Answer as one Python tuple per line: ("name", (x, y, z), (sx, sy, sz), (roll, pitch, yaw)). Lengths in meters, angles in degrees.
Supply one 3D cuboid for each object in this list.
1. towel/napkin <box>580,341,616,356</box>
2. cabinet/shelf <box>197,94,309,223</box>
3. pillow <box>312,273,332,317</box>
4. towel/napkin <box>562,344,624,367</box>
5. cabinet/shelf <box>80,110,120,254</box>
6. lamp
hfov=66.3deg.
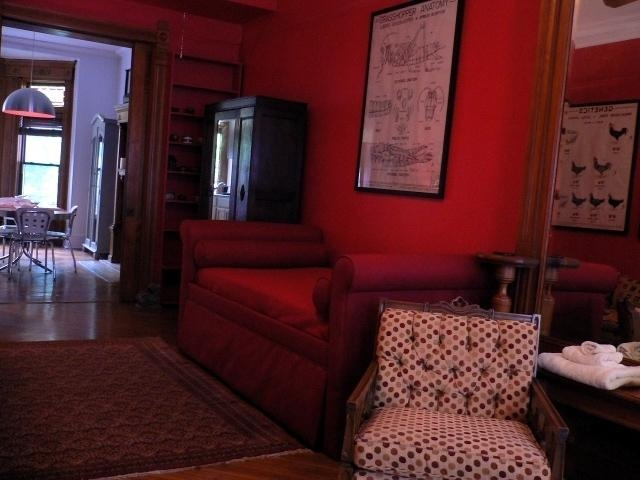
("towel/napkin", (1.384, 0.541, 2.456), (0.089, 0.037, 0.093), (4, 0, 40))
("cabinet/shelf", (-0.730, -0.694, 5.312), (0.527, 1.492, 0.976), (0, 6, -36))
("pillow", (0.027, 0.316, 2.831), (0.125, 0.182, 0.096), (3, -4, 35))
("towel/napkin", (1.335, 0.558, 2.406), (0.149, 0.057, 0.155), (3, -5, -26))
("cabinet/shelf", (-3.836, -0.945, 8.712), (0.390, 2.558, 1.340), (2, 5, -26))
("lamp", (-4.993, -2.843, 8.456), (0.827, 1.548, 2.743), (2, 5, -29))
